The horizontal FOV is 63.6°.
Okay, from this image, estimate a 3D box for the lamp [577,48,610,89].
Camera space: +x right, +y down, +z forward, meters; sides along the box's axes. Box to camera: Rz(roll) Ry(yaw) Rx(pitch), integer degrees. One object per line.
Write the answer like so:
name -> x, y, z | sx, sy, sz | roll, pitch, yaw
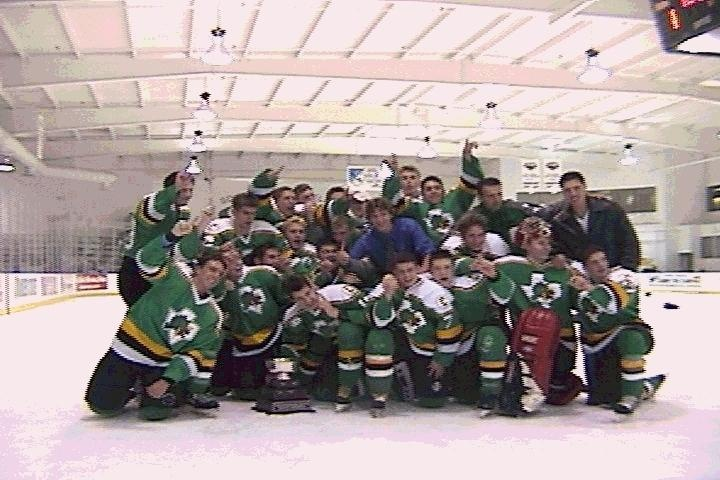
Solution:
lamp -> 4.040, -3.032, 9.993 | 0.489, 0.633, 0.674 | -1, 3, 8
